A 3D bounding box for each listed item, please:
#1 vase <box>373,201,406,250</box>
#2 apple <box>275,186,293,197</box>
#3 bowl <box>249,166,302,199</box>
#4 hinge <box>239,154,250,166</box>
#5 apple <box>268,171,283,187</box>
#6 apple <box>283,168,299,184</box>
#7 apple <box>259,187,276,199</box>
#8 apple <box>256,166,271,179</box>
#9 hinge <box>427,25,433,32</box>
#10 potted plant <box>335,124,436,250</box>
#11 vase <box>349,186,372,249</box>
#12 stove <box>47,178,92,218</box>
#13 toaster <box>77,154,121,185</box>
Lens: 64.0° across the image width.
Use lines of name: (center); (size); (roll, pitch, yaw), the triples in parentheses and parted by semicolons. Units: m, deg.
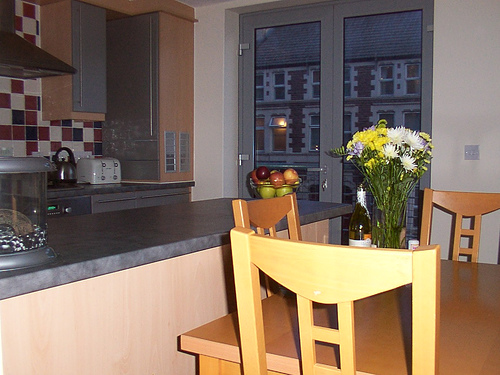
vase: (0.441, 0.115, 1.268); (0.108, 0.165, 0.109); (-3, -5, 43)
apple: (0.163, 0.017, 2.008); (0.055, 0.046, 0.059); (-1, 3, 11)
bowl: (0.123, -0.028, 2.062); (0.181, 0.136, 0.187); (0, -1, 0)
hinge: (-0.061, -0.282, 3.954); (0.087, 0.104, 0.098); (-2, 5, -18)
apple: (0.131, -0.047, 2.046); (0.070, 0.072, 0.111); (0, 5, 3)
apple: (0.209, -0.057, 2.063); (0.064, 0.084, 0.067); (4, 3, -12)
apple: (0.088, 0.023, 2.015); (0.058, 0.049, 0.061); (1, 1, 20)
apple: (0.072, -0.073, 2.159); (0.061, 0.079, 0.065); (5, -22, -12)
hinge: (1.433, -1.280, 3.198); (0.041, 0.043, 0.010); (2, 6, 15)
potted plant: (0.423, 0.019, 1.260); (0.234, 0.377, 0.240); (-1, 6, 15)
vase: (0.344, 0.108, 1.262); (0.068, 0.251, 0.072); (2, 23, 16)
stove: (-1.343, 0.063, 2.997); (0.289, 0.256, 0.491); (-3, 6, -25)
toaster: (-1.320, -0.154, 3.502); (0.356, 0.235, 0.376); (2, 5, -19)
